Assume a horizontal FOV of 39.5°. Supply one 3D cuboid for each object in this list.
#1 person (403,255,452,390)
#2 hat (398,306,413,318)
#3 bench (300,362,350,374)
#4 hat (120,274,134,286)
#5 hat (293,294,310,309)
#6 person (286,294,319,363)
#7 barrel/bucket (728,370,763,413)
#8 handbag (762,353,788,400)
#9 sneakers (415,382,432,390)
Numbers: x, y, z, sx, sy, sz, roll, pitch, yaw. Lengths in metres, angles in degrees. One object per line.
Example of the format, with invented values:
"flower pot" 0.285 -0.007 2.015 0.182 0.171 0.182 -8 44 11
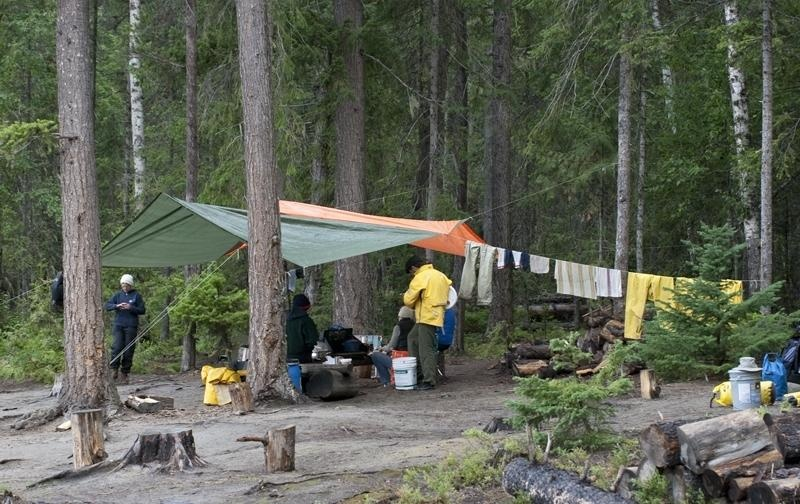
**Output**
"person" 0.693 1.790 27.518 1.043 3.255 0.574 -2 2 8
"hat" 0.156 1.539 28.177 0.270 0.321 0.332 0 7 -13
"bench" -1.759 2.827 26.625 1.169 0.236 0.359 -2 1 27
"hat" -7.063 0.749 28.901 0.370 0.336 0.382 2 -3 -22
"hat" -2.418 1.245 27.500 0.387 0.380 0.294 4 -4 -5
"person" -2.422 1.924 27.522 0.764 1.721 0.618 -2 1 -8
"barrel/bucket" 7.248 2.903 23.372 0.727 1.022 0.786 -1 -4 0
"handbag" 8.068 2.702 23.907 0.523 0.898 0.545 -3 2 -37
"sneakers" 0.619 3.355 27.573 0.345 0.162 0.161 6 -9 -20
